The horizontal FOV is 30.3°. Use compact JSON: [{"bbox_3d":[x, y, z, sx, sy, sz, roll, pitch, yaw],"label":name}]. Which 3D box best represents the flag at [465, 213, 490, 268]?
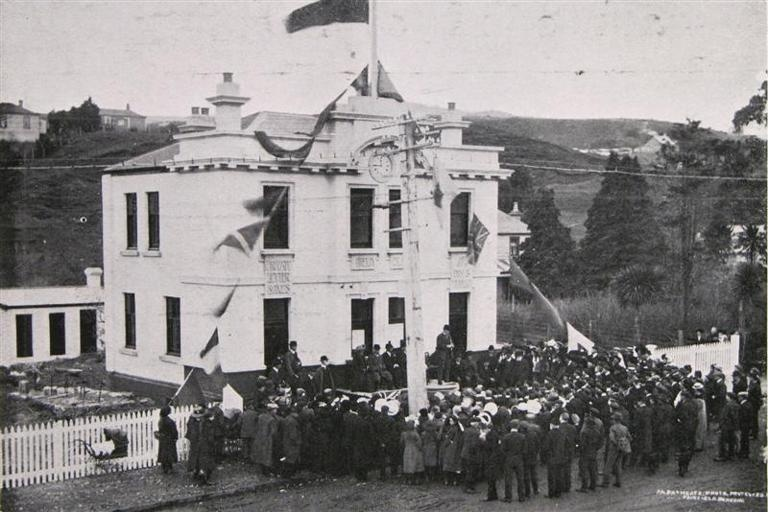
[{"bbox_3d":[3.652,-0.689,55.729,0.825,1.934,0.269,1,-7,-32],"label":"flag"}]

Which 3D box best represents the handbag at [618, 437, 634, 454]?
[{"bbox_3d":[8.370,6.575,49.448,0.521,0.572,0.239,0,3,-2],"label":"handbag"}]

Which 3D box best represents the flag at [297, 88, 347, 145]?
[{"bbox_3d":[-2.218,-5.304,53.381,1.349,1.838,0.550,-2,-6,-1],"label":"flag"}]

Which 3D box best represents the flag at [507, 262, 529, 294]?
[{"bbox_3d":[5.499,0.895,57.753,0.382,0.875,1.264,-20,-44,40],"label":"flag"}]

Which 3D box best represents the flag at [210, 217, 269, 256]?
[{"bbox_3d":[-5.250,-0.739,52.155,1.624,1.296,0.171,-1,-6,-11],"label":"flag"}]

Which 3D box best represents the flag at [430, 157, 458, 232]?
[{"bbox_3d":[2.308,-2.593,54.237,0.945,2.788,2.674,-3,-6,3],"label":"flag"}]

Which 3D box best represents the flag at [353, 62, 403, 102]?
[{"bbox_3d":[-0.383,-6.720,54.119,1.522,1.476,0.770,-3,-6,9],"label":"flag"}]

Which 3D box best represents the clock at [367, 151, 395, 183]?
[{"bbox_3d":[-0.154,-3.455,54.010,1.316,1.176,0.093,-3,2,-33],"label":"clock"}]
